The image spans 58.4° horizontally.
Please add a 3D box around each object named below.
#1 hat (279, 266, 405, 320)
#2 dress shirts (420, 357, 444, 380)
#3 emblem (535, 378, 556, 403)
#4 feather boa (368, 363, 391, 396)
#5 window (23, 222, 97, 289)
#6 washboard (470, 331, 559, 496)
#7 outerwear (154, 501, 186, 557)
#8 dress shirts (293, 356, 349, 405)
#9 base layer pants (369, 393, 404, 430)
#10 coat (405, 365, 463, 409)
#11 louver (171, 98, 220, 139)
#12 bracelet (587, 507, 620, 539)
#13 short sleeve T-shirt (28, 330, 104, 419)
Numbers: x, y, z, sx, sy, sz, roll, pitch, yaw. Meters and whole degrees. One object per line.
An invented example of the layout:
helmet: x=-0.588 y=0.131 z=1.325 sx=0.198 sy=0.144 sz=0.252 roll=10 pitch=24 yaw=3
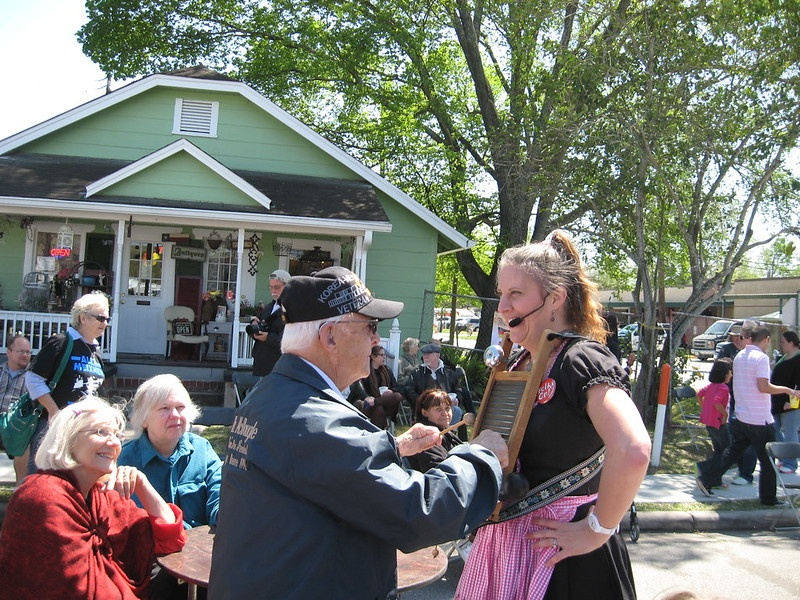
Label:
hat: x=-0.360 y=-0.023 z=4.058 sx=0.494 sy=0.211 sz=0.324 roll=-2 pitch=4 yaw=-13
dress shirts: x=0.529 y=1.021 z=10.536 sx=0.215 sy=0.328 sz=0.125 roll=-2 pitch=-10 yaw=-1
emblem: x=0.826 y=0.515 z=4.042 sx=0.020 sy=0.148 sz=0.136 roll=25 pitch=-10 yaw=-11
feather boa: x=-0.289 y=1.201 z=10.658 sx=0.328 sy=0.429 sz=0.159 roll=-2 pitch=-11 yaw=-1
window: x=-6.914 y=-0.895 z=14.500 sx=1.153 sy=1.247 sz=0.093 roll=8 pitch=-6 yaw=-15
washboard: x=0.677 y=0.673 z=4.184 sx=0.136 sy=0.852 sz=0.411 roll=27 pitch=-13 yaw=-33
outerwear: x=-1.586 y=1.612 z=4.938 sx=0.235 sy=0.242 sz=0.221 roll=-5 pitch=-7 yaw=-2
dress shirts: x=-0.440 y=0.437 z=3.927 sx=0.196 sy=0.129 sz=0.152 roll=39 pitch=-24 yaw=-13
base layer pants: x=-0.176 y=1.560 z=10.301 sx=0.523 sy=0.711 sz=0.414 roll=2 pitch=0 yaw=8
coat: x=0.480 y=1.199 z=10.500 sx=0.862 sy=0.892 sz=0.517 roll=4 pitch=-19 yaw=-11
louver: x=-4.374 y=-3.901 z=15.275 sx=1.156 sy=1.145 sz=0.152 roll=2 pitch=-1 yaw=-19
bracelet: x=1.101 y=1.211 z=3.908 sx=0.155 sy=0.064 sz=0.151 roll=18 pitch=20 yaw=-24
short sleeve T-shirt: x=-3.034 y=0.695 z=6.557 sx=0.364 sy=0.668 sz=0.692 roll=1 pitch=-17 yaw=28
